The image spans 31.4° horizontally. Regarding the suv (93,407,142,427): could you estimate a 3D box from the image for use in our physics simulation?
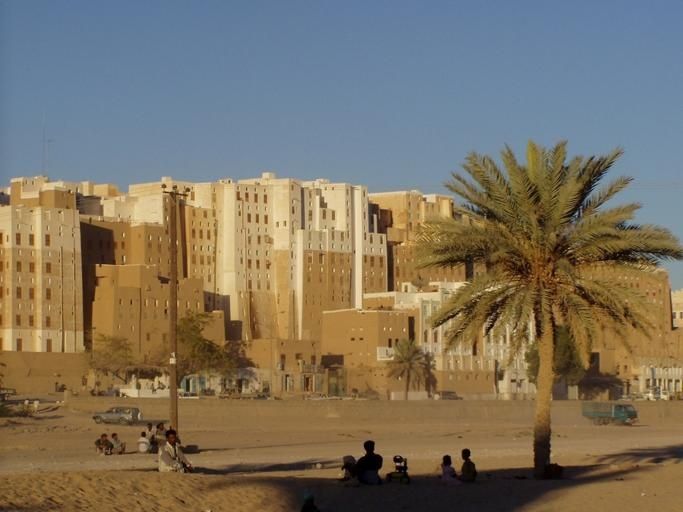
[{"bbox_3d":[-16.508,11.734,89.032,3.199,1.075,1.442,4,-3,19],"label":"suv"}]

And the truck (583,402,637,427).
[{"bbox_3d":[21.459,12.907,98.497,3.117,1.393,2.115,-2,-5,27],"label":"truck"}]
